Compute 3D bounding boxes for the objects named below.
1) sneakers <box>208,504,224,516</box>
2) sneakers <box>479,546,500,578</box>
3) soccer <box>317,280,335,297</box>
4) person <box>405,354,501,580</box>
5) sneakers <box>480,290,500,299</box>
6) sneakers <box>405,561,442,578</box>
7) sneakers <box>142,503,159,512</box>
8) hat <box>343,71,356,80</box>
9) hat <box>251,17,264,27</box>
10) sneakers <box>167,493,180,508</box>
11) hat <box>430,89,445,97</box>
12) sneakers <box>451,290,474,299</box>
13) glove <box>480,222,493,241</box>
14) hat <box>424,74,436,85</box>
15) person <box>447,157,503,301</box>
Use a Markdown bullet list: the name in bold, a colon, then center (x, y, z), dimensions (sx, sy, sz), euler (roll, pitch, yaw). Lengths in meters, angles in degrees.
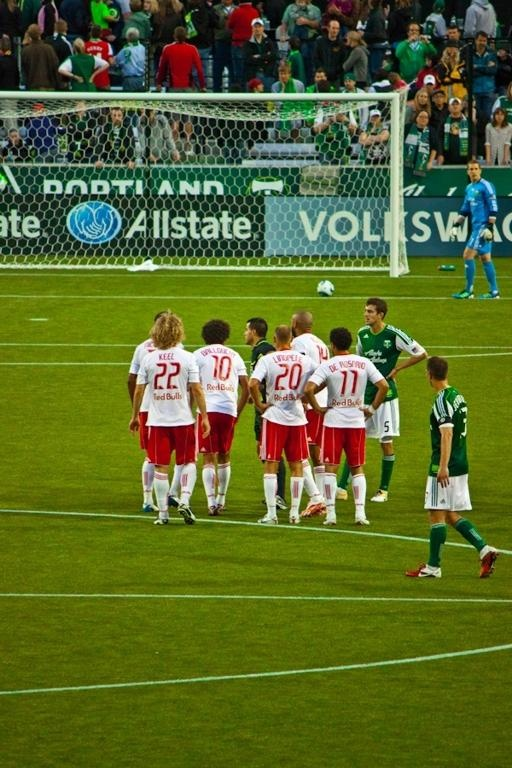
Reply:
- **sneakers**: center (-0.306, 0.957, 9.939), dimensions (0.050, 0.073, 0.156), euler (2, 8, 6)
- **sneakers**: center (1.410, 1.066, 7.885), dimensions (0.122, 0.257, 0.090), euler (10, 38, 11)
- **soccer**: center (1.039, -1.405, 19.439), dimensions (0.223, 0.279, 0.250), euler (-1, 11, 1)
- **person**: center (1.222, 0.525, 8.091), dimensions (0.539, 1.398, 0.875), euler (1, 7, 10)
- **sneakers**: center (3.551, -1.350, 19.767), dimensions (0.326, 0.151, 0.120), euler (2, 10, 1)
- **sneakers**: center (1.033, 1.128, 7.978), dimensions (0.234, 0.109, 0.082), euler (1, 4, 2)
- **sneakers**: center (-0.812, 0.932, 9.945), dimensions (0.109, 0.076, 0.161), euler (0, 7, -6)
- **hat**: center (1.789, -5.898, 25.115), dimensions (0.157, 0.174, 0.217), euler (-1, -15, 16)
- **hat**: center (0.029, -7.157, 25.921), dimensions (0.196, 0.112, 0.324), euler (-1, 13, 4)
- **sneakers**: center (-0.646, 0.907, 10.140), dimensions (0.063, 0.088, 0.195), euler (-1, -11, -4)
- **hat**: center (3.487, -5.573, 25.103), dimensions (0.220, 0.099, 0.321), euler (1, 11, 3)
- **sneakers**: center (3.156, -1.362, 19.801), dimensions (0.366, 0.174, 0.136), euler (2, 4, -9)
- **glove**: center (3.351, -2.193, 18.957), dimensions (0.177, 0.260, 0.355), euler (1, 7, 8)
- **hat**: center (3.377, -5.894, 25.344), dimensions (0.189, 0.116, 0.312), euler (2, 27, 6)
- **person**: center (3.286, -2.265, 19.385), dimensions (0.685, 2.057, 1.443), euler (1, 7, 10)
